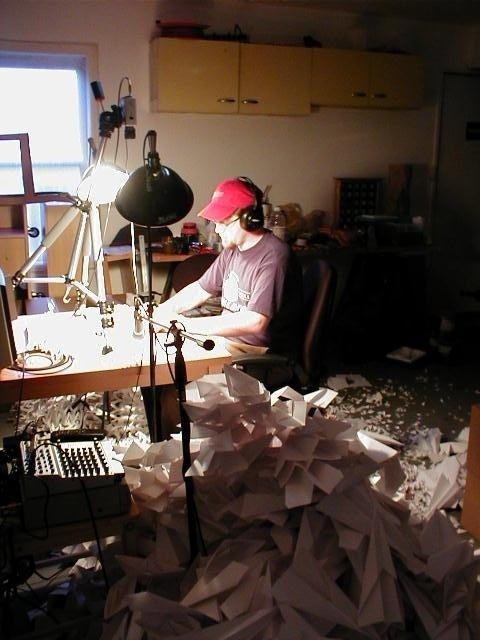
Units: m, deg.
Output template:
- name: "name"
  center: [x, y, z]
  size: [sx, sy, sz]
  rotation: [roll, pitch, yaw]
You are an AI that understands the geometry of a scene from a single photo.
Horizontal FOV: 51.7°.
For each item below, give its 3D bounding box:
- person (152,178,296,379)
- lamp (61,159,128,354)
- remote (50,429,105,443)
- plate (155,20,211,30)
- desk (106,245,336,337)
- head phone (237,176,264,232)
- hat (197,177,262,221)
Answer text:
- name: "person"
  center: [0.012, -0.311, 2.579]
  size: [0.772, 1.035, 0.784]
  rotation: [-5, 16, -21]
- name: "lamp"
  center: [-0.573, -0.267, 1.872]
  size: [0.264, 0.549, 0.335]
  rotation: [4, 2, -20]
- name: "remote"
  center: [-0.433, 0.307, 1.306]
  size: [0.097, 0.023, 0.048]
  rotation: [-1, 6, -16]
- name: "plate"
  center: [-0.391, -1.978, 3.337]
  size: [0.340, 0.049, 0.071]
  rotation: [-1, 11, -3]
- name: "desk"
  center: [-0.121, -0.146, 2.437]
  size: [0.631, 0.413, 0.358]
  rotation: [-3, 8, -21]
- name: "head phone"
  center: [0.055, -0.523, 2.271]
  size: [0.097, 0.259, 0.256]
  rotation: [0, 8, -4]
- name: "hat"
  center: [-0.048, -0.533, 2.217]
  size: [0.246, 0.129, 0.164]
  rotation: [-21, 27, -20]
